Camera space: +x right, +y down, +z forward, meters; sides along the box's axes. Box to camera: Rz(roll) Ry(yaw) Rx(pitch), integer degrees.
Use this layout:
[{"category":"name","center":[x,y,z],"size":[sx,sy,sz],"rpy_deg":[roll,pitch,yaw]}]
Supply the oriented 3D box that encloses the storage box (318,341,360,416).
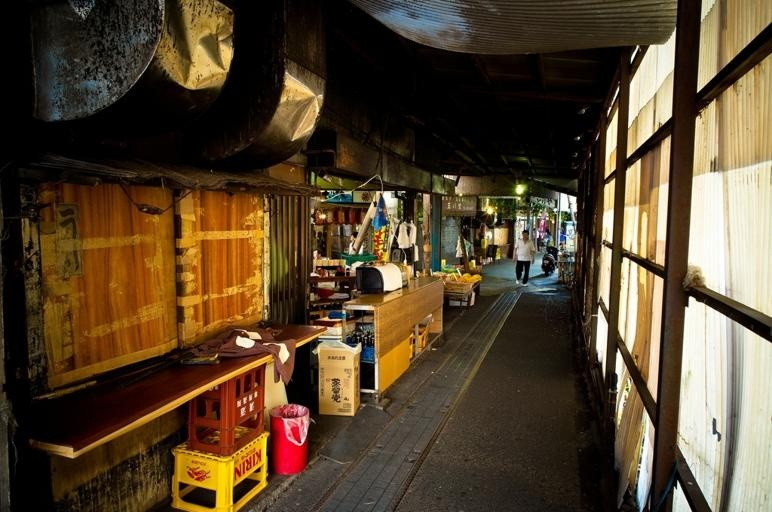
[{"category":"storage box","center":[-0.584,1.531,6.839],"size":[0.500,0.895,0.324],"rpy_deg":[-1,10,-9]}]

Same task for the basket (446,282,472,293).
[{"category":"basket","center":[1.699,0.746,13.045],"size":[0.577,0.232,0.355],"rpy_deg":[1,10,5]}]

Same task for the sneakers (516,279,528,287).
[{"category":"sneakers","center":[4.438,0.881,17.945],"size":[0.175,0.248,0.558],"rpy_deg":[0,-9,5]}]

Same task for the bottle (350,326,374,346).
[{"category":"bottle","center":[-0.327,1.085,7.449],"size":[0.260,0.284,0.277],"rpy_deg":[0,0,28]}]

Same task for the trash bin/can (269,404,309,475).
[{"category":"trash bin/can","center":[-1.014,1.951,5.735],"size":[0.394,0.609,0.379],"rpy_deg":[4,6,37]}]

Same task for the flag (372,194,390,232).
[{"category":"flag","center":[-0.066,-0.721,8.793],"size":[0.222,0.584,0.321],"rpy_deg":[2,4,40]}]

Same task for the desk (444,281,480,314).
[{"category":"desk","center":[1.734,0.921,13.247],"size":[0.553,0.640,0.895],"rpy_deg":[1,3,19]}]
